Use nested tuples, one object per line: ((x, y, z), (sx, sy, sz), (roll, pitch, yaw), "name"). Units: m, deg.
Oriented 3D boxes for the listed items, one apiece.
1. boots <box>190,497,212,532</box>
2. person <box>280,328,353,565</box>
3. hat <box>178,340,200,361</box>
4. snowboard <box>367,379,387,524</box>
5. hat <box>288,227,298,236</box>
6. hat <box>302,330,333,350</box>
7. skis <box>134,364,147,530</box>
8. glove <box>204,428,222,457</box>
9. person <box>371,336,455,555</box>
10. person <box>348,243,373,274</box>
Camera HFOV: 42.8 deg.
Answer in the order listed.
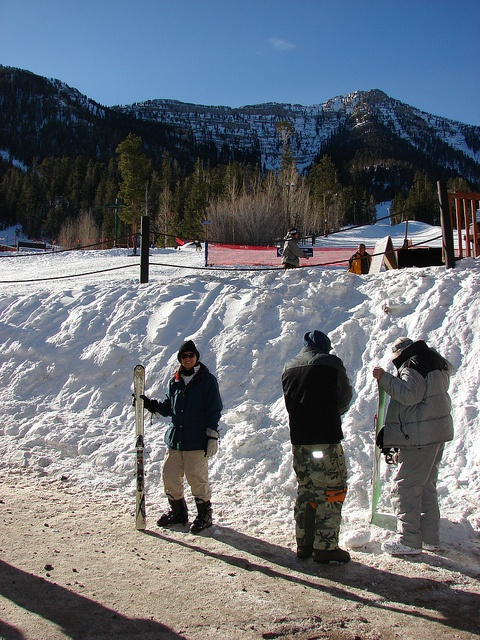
((-0.273, 1.519, 4.797), (0.116, 0.229, 0.250), (3, 10, 25), "boots")
((0.514, 0.894, 4.473), (0.411, 1.567, 0.592), (-1, 7, -6), "person")
((-0.373, 0.246, 4.979), (0.105, 0.162, 0.173), (3, -36, -1), "hat")
((0.966, 1.104, 4.938), (0.105, 1.398, 0.161), (-1, 2, 31), "snowboard")
((0.832, -1.562, 10.762), (0.128, 0.143, 0.162), (0, 9, 8), "hat")
((0.540, 0.154, 4.629), (0.108, 0.183, 0.156), (2, -15, 37), "hat")
((-0.706, 0.979, 4.808), (0.095, 1.289, 0.106), (-1, -5, -5), "skis")
((-0.196, 0.963, 4.843), (0.066, 0.205, 0.128), (3, -9, -9), "glove")
((1.144, 0.903, 4.548), (0.453, 1.458, 0.608), (7, 10, 44), "person")
((2.003, -1.126, 11.381), (0.328, 0.571, 0.952), (1, 10, 11), "person")
